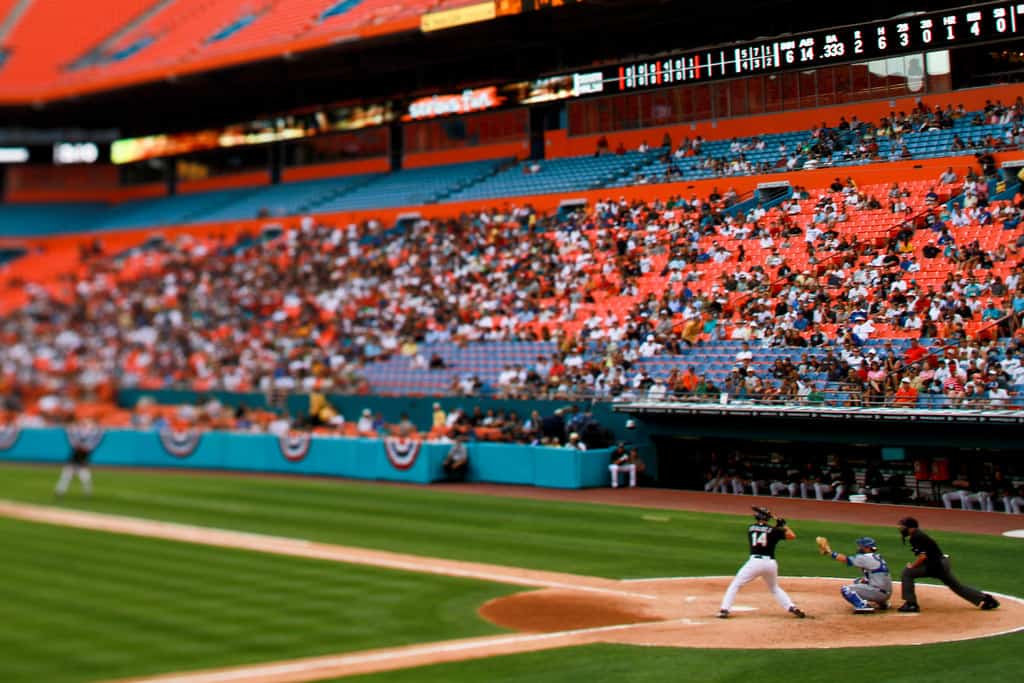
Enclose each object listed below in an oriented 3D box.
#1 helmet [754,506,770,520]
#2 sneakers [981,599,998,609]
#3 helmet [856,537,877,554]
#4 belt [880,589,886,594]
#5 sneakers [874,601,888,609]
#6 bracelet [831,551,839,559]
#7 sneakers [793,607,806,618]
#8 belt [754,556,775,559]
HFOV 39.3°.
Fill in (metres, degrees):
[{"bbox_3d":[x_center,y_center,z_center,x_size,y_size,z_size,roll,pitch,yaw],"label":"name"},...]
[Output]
[{"bbox_3d":[5.186,3.582,29.627,0.348,0.282,0.264,-6,7,37],"label":"helmet"},{"bbox_3d":[10.113,5.506,29.913,0.367,0.234,0.134,3,-6,-21],"label":"sneakers"},{"bbox_3d":[7.486,4.289,30.031,0.423,0.347,0.366,12,3,33],"label":"helmet"},{"bbox_3d":[7.861,5.266,29.863,0.171,0.106,0.031,2,-5,-10],"label":"belt"},{"bbox_3d":[7.790,5.555,29.932,0.196,0.072,0.256,-2,-4,4],"label":"sneakers"},{"bbox_3d":[6.795,4.492,29.722,0.163,0.068,0.180,10,16,-6],"label":"bracelet"},{"bbox_3d":[6.002,5.648,29.600,0.187,0.119,0.289,3,-2,-28],"label":"sneakers"},{"bbox_3d":[5.235,4.465,29.356,0.380,0.084,0.068,1,-5,-5],"label":"belt"}]
